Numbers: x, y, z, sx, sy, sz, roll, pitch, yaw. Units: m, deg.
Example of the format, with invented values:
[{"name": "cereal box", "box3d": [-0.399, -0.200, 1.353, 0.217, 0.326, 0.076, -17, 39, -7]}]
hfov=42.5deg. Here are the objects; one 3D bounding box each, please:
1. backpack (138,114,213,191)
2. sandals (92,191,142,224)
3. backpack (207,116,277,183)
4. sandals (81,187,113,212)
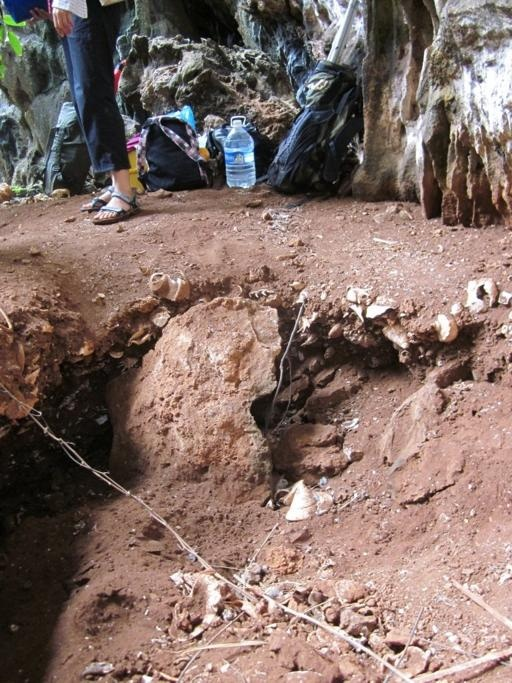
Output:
[{"name": "backpack", "box3d": [-0.584, -1.233, 4.335, 0.485, 0.479, 0.319, -8, 25, -1]}, {"name": "sandals", "box3d": [-0.742, -0.719, 3.564, 0.133, 0.108, 0.276, 23, 38, 29]}, {"name": "backpack", "box3d": [-0.125, -1.426, 4.811, 0.344, 0.353, 0.927, -13, 32, -8]}, {"name": "sandals", "box3d": [-0.886, -0.820, 3.816, 0.114, 0.070, 0.280, 9, 36, 29]}]
